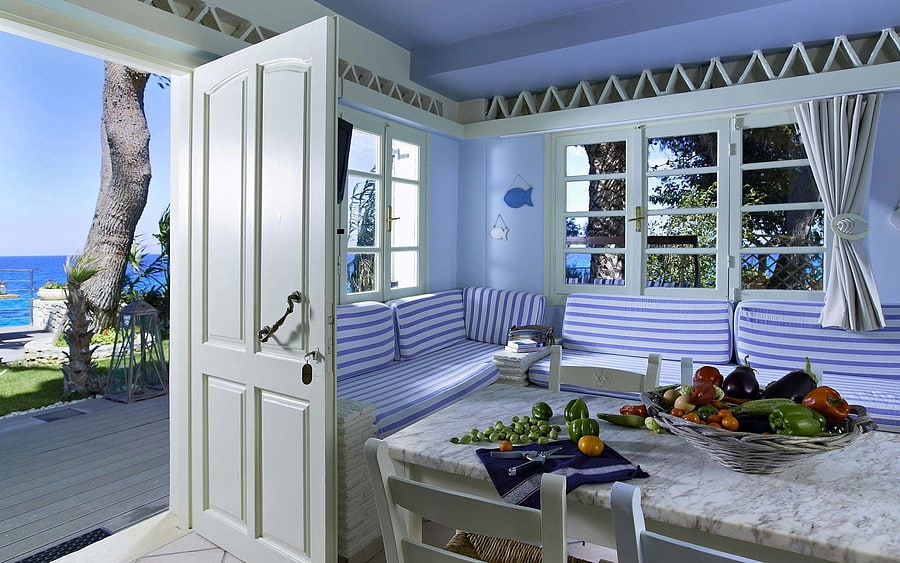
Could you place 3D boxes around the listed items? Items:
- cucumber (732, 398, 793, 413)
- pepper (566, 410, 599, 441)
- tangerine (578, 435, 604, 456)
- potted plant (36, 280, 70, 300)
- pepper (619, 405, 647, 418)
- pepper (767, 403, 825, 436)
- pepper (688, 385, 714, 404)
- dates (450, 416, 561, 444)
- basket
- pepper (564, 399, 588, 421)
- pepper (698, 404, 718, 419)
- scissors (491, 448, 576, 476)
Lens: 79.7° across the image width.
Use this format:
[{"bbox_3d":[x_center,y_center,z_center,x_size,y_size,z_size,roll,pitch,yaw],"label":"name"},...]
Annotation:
[{"bbox_3d":[1.446,0.573,2.488,0.195,0.062,0.099,-11,-2,2],"label":"cucumber"},{"bbox_3d":[0.656,0.708,2.649,0.118,0.142,0.115,-3,-5,24],"label":"pepper"},{"bbox_3d":[0.677,0.780,2.572,0.097,0.050,0.097,-3,-1,38],"label":"tangerine"},{"bbox_3d":[-5.558,0.123,7.529,0.298,0.132,0.285,2,2,-1],"label":"potted plant"},{"bbox_3d":[0.981,0.678,2.857,0.121,0.048,0.063,2,10,26],"label":"pepper"},{"bbox_3d":[1.564,0.624,2.410,0.227,0.127,0.084,4,14,16],"label":"pepper"},{"bbox_3d":[1.204,0.535,2.598,0.101,0.092,0.100,-20,-12,13],"label":"pepper"},{"bbox_3d":[0.295,0.760,2.719,0.395,0.071,0.198,-6,2,-6],"label":"dates"},{"bbox_3d":[1.394,0.694,2.646,0.807,0.307,0.772,8,3,-23],"label":"basket"},{"bbox_3d":[0.651,0.659,2.770,0.116,0.145,0.113,0,-9,11],"label":"pepper"},{"bbox_3d":[1.212,0.592,2.514,0.076,0.039,0.057,-15,18,-34],"label":"pepper"},{"bbox_3d":[0.413,0.830,2.549,0.264,0.040,0.141,-1,6,-12],"label":"scissors"}]
